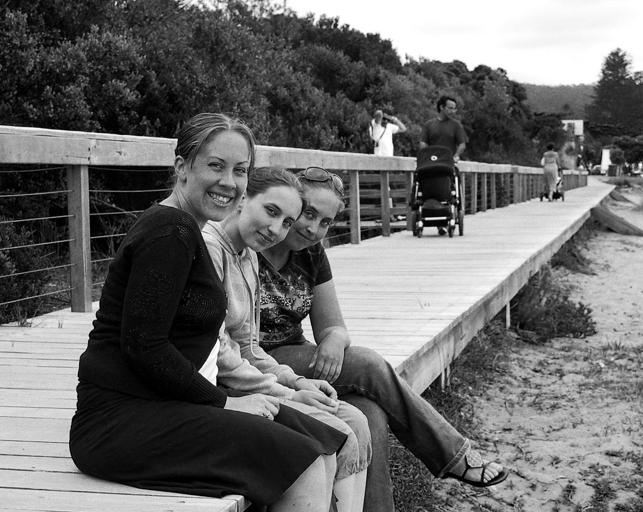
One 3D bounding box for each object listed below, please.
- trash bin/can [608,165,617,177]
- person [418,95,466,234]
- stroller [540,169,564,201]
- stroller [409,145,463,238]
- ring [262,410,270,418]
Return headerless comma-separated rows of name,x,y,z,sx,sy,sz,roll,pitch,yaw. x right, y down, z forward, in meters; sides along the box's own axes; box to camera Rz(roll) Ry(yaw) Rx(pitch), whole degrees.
trash bin/can,25.576,-7.500,56.067,0.694,0.856,2.528,4,9,24
person,1.941,-1.319,10.732,0.701,2.603,0.945,4,10,11
stroller,7.651,-2.331,21.188,0.353,1.413,0.692,18,0,36
stroller,1.776,-1.024,9.681,0.607,1.473,0.719,4,10,16
ring,-0.175,0.513,2.071,0.021,0.009,0.016,42,65,12
